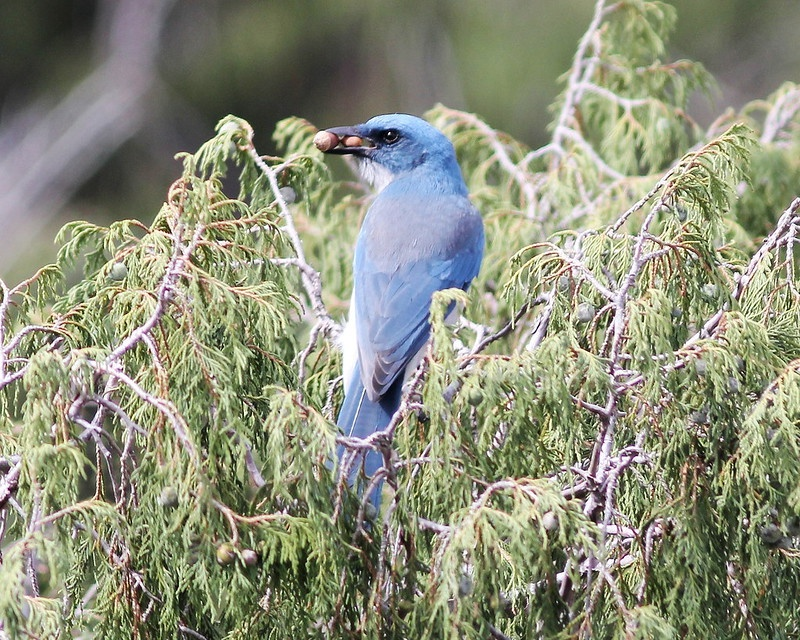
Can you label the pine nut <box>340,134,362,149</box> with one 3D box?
[{"bbox_3d":[-0.245,-0.900,6.022,0.071,0.053,0.058,7,-17,-29],"label":"pine nut"}]
